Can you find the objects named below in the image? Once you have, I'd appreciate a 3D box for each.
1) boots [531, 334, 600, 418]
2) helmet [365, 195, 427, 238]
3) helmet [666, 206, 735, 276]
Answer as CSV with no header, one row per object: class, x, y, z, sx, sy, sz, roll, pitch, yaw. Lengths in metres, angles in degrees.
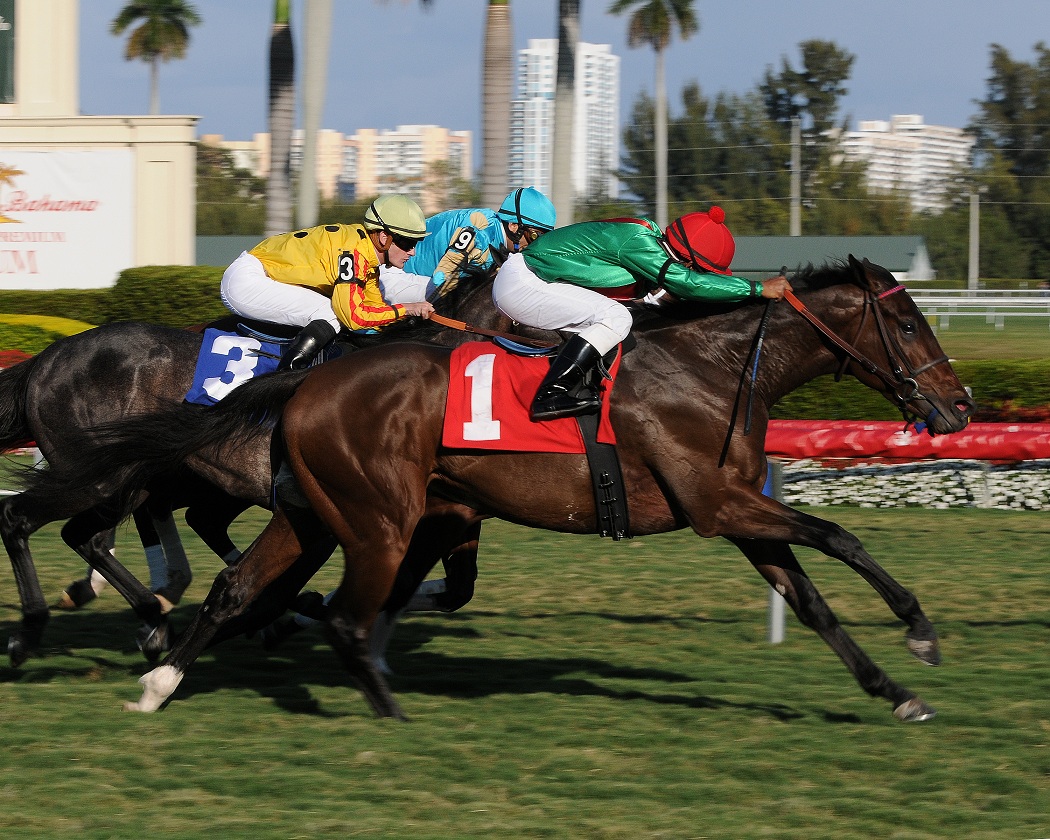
boots,0.169,-0.151,4.495,0.245,0.297,0.149,-6,13,-40
helmet,-0.536,-0.830,5.111,0.311,0.112,0.174,13,16,3
helmet,0.741,-0.718,4.948,0.282,0.212,0.341,35,18,5
